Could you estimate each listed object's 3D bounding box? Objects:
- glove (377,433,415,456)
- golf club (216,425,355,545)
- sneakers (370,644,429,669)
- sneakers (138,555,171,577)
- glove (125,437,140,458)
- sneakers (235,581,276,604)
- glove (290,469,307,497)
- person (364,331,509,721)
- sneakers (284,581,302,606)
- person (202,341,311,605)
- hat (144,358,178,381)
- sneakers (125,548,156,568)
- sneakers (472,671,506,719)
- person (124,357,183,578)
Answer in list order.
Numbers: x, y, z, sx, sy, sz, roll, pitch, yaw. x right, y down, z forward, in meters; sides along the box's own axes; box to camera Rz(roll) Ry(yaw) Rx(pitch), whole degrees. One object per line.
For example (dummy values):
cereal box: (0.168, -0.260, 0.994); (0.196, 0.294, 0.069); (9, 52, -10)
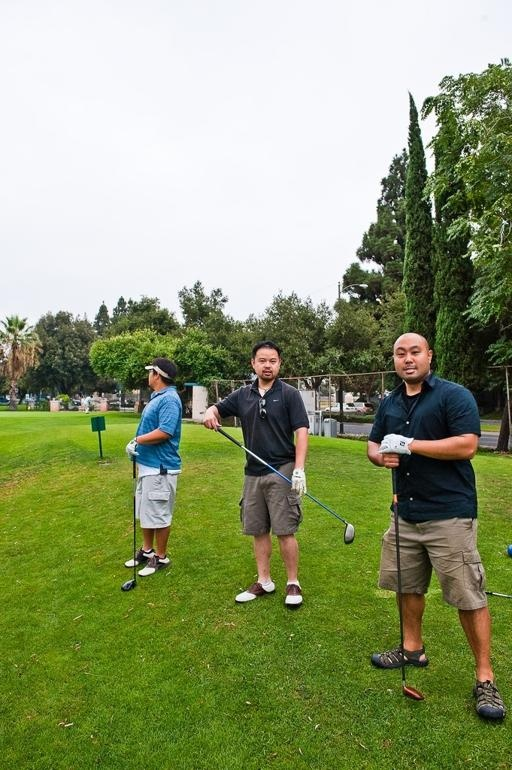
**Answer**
glove: (0.734, 0.321, 3.054); (0.173, 0.114, 0.151); (-1, 2, 13)
golf club: (0.292, 1.034, 5.861); (1.674, 0.300, 0.225); (39, 35, 6)
sneakers: (0.768, 1.439, 3.181); (0.351, 0.158, 0.152); (1, -18, 4)
sneakers: (-0.822, 1.463, 4.739); (0.089, 0.127, 0.277); (-20, -9, 31)
glove: (-0.986, 0.456, 4.675); (0.074, 0.234, 0.174); (5, -25, -6)
sneakers: (-0.002, 1.460, 4.175); (0.302, 0.117, 0.100); (-4, -1, -27)
glove: (0.297, 0.654, 3.959); (0.105, 0.190, 0.057); (-1, -23, 1)
person: (0.928, 0.624, 3.066); (0.525, 1.801, 0.990); (-3, 3, -23)
sneakers: (0.256, 1.425, 3.977); (0.118, 0.149, 0.136); (-1, 3, 4)
person: (0.033, 0.606, 4.274); (0.708, 1.827, 0.815); (-1, 3, 1)
hat: (-0.788, -0.143, 4.838); (0.231, 0.125, 0.173); (28, 17, 13)
sneakers: (-0.968, 1.444, 4.862); (0.108, 0.132, 0.309); (-9, -13, 34)
sneakers: (1.085, 1.457, 2.700); (0.133, 0.119, 0.149); (0, 3, 23)
person: (-0.854, 0.646, 4.812); (0.484, 1.719, 0.591); (-2, 3, -14)
